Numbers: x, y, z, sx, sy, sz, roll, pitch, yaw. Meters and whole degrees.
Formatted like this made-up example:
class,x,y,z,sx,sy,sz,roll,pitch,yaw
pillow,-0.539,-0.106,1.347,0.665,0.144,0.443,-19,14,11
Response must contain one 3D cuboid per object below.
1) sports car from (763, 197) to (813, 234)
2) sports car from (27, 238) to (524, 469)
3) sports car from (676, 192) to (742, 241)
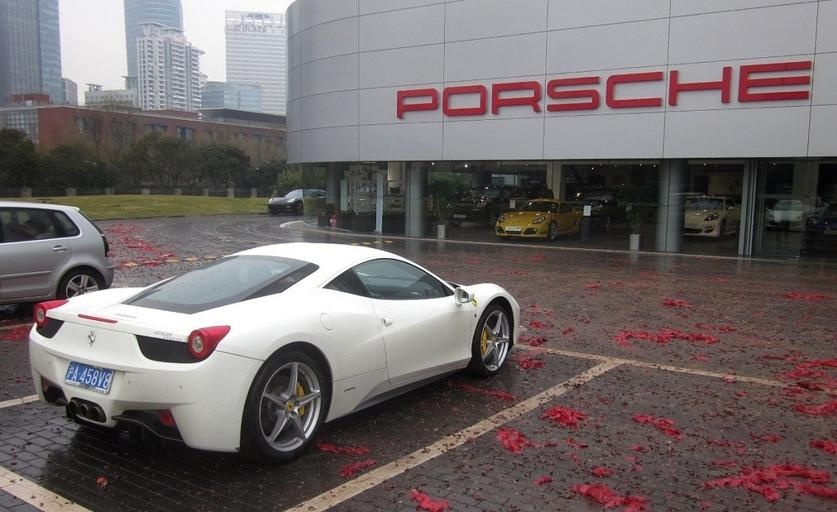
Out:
class,x,y,z,sx,sy,sz,roll,pitch,yaw
sports car,13.447,-1.672,19.673,1.317,0.662,2.187,6,25,36
sports car,-1.237,0.996,6.456,2.602,1.244,4.526,8,12,44
sports car,11.218,-1.575,20.761,1.912,1.135,3.094,1,2,41
